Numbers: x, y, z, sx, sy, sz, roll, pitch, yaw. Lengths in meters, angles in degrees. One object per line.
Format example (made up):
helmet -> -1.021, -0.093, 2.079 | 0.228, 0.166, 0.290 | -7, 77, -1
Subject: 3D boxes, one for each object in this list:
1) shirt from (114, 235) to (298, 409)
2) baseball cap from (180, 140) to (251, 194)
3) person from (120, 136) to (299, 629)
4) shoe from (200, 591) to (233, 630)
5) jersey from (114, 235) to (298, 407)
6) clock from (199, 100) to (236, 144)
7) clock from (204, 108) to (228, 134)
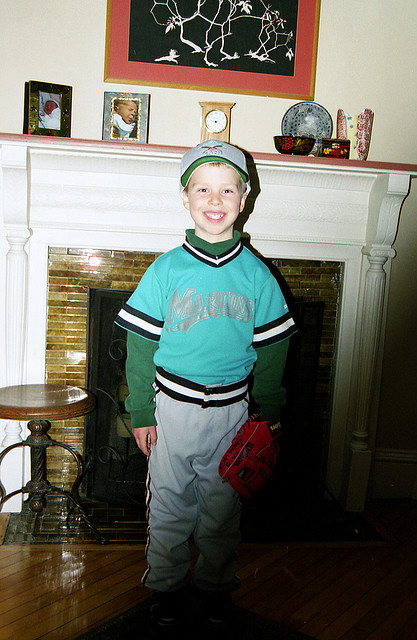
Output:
shirt -> -0.001, -0.019, 1.564 | 0.534, 0.430, 0.198 | 2, 6, -10
baseball cap -> 0.018, -0.413, 1.556 | 0.189, 0.138, 0.118 | 4, 9, 0
person -> -0.036, 0.176, 1.658 | 0.468, 1.335, 0.544 | 0, 10, -26
shoe -> 0.022, 0.791, 1.555 | 0.100, 0.102, 0.095 | 0, -8, -3
jersey -> -0.001, -0.001, 1.545 | 0.482, 0.433, 0.199 | 4, 9, 4
clock -> 0.023, -0.707, 2.033 | 0.114, 0.144, 0.075 | 4, 9, -2
clock -> 0.028, -0.705, 2.020 | 0.090, 0.082, 0.006 | 6, 14, 2
